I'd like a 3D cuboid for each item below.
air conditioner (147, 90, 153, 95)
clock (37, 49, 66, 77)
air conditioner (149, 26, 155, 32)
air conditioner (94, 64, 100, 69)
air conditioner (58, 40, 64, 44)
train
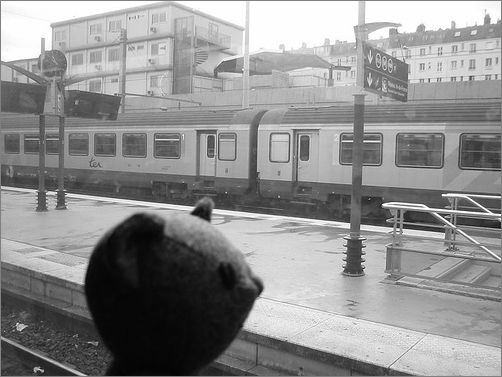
[{"bbox_3d":[-9.635,-9.321,47.594,0.469,0.530,1.120,-1,2,-25],"label":"air conditioner"},{"bbox_3d":[-11.024,-7.119,27.532,1.062,1.585,1.526,24,26,30],"label":"clock"},{"bbox_3d":[-9.577,-15.612,48.338,0.732,0.590,0.248,2,2,34],"label":"air conditioner"},{"bbox_3d":[-16.135,-12.859,52.047,0.863,0.641,0.187,2,2,34],"label":"air conditioner"},{"bbox_3d":[-21.082,-16.282,54.978,0.267,0.352,0.497,2,-1,-40],"label":"air conditioner"},{"bbox_3d":[-1.292,-1.158,18.566,19.221,3.869,1.210,2,2,33],"label":"train"}]
